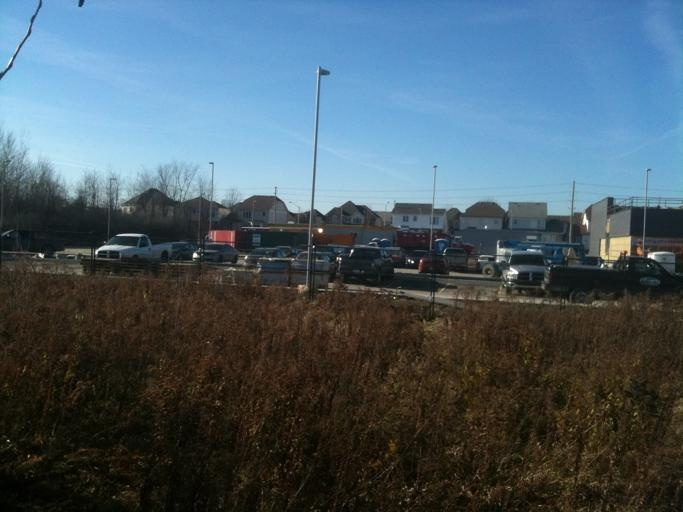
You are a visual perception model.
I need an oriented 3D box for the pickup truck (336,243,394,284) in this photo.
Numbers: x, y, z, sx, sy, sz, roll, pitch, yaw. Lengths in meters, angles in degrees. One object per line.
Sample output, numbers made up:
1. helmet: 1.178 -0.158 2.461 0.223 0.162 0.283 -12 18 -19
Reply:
1. pickup truck: 0.957 0.260 29.473 1.611 1.417 2.356 2 5 11
